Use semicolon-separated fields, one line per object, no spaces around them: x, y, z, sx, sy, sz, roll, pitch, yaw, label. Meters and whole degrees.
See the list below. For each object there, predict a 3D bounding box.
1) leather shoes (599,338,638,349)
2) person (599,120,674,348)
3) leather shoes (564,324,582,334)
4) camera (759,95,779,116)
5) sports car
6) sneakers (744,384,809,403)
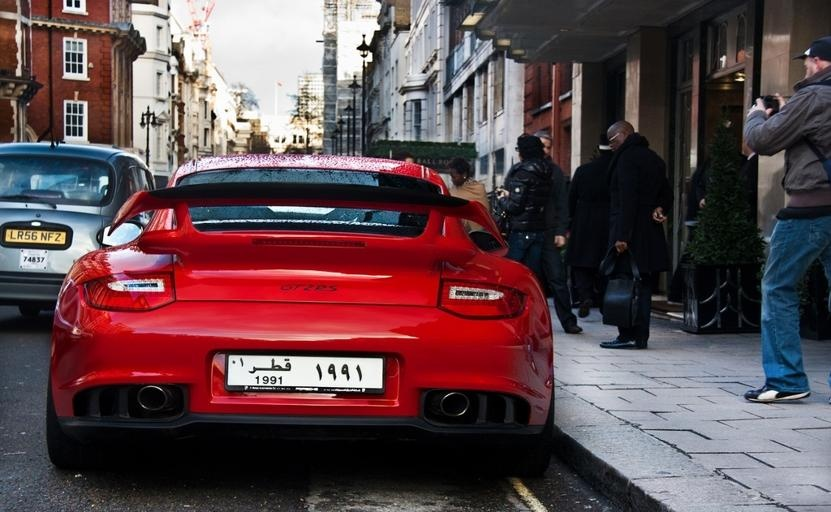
2.302;0.998;11.001;0.359;0.138;0.139;4;0;14;leather shoes
2.497;-0.230;10.931;0.752;2.552;0.686;3;6;10;person
2.003;0.934;12.297;0.246;0.101;0.091;-2;-1;30;leather shoes
3.036;-1.291;8.344;0.159;0.143;0.168;6;18;9;camera
-0.731;0.523;6.812;3.337;2.075;1.450;2;5;7;sports car
3.090;1.172;8.368;0.544;0.208;0.195;5;-3;2;sneakers
